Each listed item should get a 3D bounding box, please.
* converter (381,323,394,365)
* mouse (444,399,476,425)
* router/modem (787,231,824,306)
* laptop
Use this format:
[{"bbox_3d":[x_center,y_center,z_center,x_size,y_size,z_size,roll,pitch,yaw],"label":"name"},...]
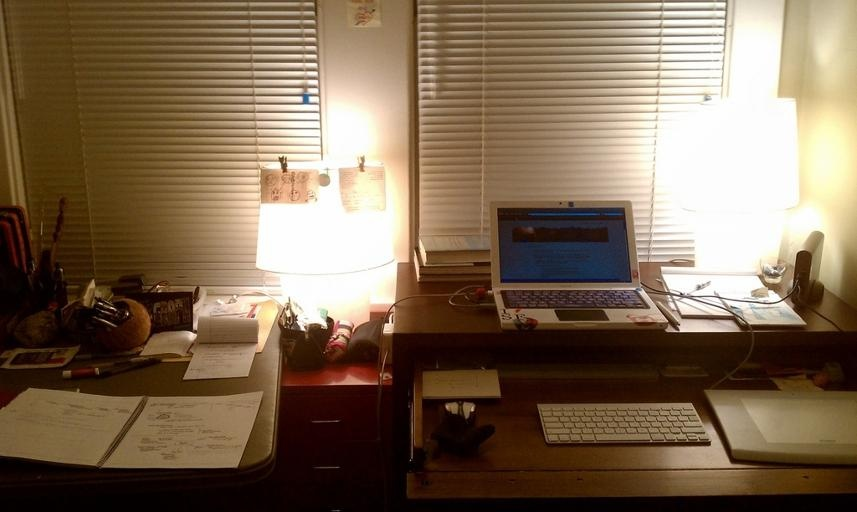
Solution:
[{"bbox_3d":[-0.175,0.380,2.680,0.085,0.153,0.178,2,15,1],"label":"converter"},{"bbox_3d":[0.119,0.580,2.340,0.103,0.080,0.033,-2,-9,-3],"label":"mouse"},{"bbox_3d":[1.658,0.048,2.763,0.161,0.259,0.385,6,10,38],"label":"router/modem"},{"bbox_3d":[0.580,0.028,2.461,0.729,0.506,0.391,0,8,-1],"label":"laptop"}]
